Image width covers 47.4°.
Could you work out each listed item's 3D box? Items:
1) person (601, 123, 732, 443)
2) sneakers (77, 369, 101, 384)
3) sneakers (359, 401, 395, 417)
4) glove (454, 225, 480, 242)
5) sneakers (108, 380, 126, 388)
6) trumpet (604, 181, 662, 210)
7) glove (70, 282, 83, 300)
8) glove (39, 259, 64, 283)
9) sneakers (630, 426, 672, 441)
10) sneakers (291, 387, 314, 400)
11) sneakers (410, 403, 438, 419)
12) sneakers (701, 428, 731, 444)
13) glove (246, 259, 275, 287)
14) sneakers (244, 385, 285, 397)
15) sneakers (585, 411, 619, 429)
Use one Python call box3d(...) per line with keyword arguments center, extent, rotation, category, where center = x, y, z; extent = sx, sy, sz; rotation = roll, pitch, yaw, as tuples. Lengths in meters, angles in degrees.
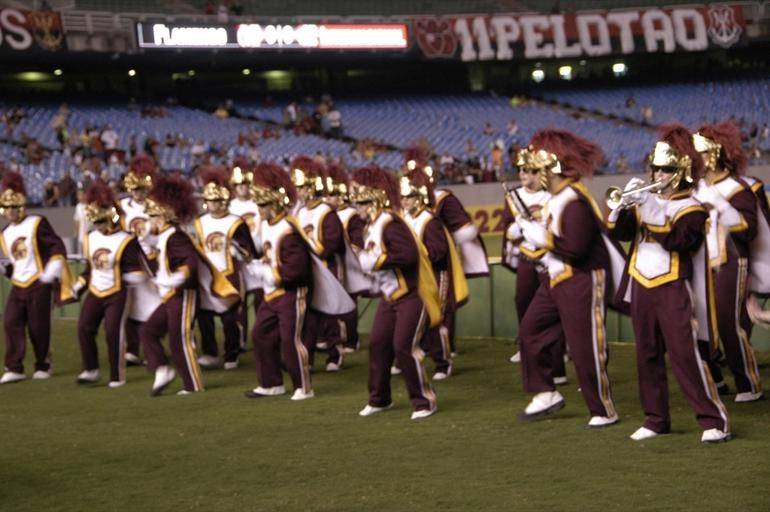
box3d(center=(2.791, 0.286, 8.781), extent=(1.110, 3.202, 0.617), rotation=(-3, 4, -1), category="person")
box3d(center=(-3.867, 1.587, 11.448), extent=(0.275, 0.176, 0.152), rotation=(6, 0, -5), category="sneakers")
box3d(center=(-0.102, 1.762, 10.087), extent=(0.423, 0.159, 0.136), rotation=(-5, 9, -21), category="sneakers")
box3d(center=(1.101, -0.304, 11.812), extent=(0.257, 0.181, 0.257), rotation=(-17, 4, 26), category="glove")
box3d(center=(-3.475, 1.662, 11.348), extent=(0.197, 0.067, 0.155), rotation=(-4, 4, -15), category="sneakers")
box3d(center=(2.433, -0.601, 8.563), extent=(0.626, 0.294, 0.228), rotation=(3, 32, -41), category="trumpet")
box3d(center=(-4.060, 0.472, 11.653), extent=(0.169, 0.231, 0.073), rotation=(26, 8, 27), category="glove")
box3d(center=(-4.414, 0.204, 11.630), extent=(0.303, 0.341, 0.122), rotation=(-3, 4, -1), category="glove")
box3d(center=(2.696, 1.827, 8.998), extent=(0.394, 0.137, 0.156), rotation=(-1, 47, -8), category="sneakers")
box3d(center=(-1.005, 1.694, 10.639), extent=(0.339, 0.128, 0.111), rotation=(1, -6, -25), category="sneakers")
box3d(center=(0.435, 1.764, 9.845), extent=(0.256, 0.101, 0.128), rotation=(0, -10, -26), category="sneakers")
box3d(center=(3.298, 1.806, 8.760), extent=(0.259, 0.113, 0.131), rotation=(-5, 3, 16), category="sneakers")
box3d(center=(-1.494, 0.207, 10.436), extent=(0.248, 0.299, 0.321), rotation=(-5, 4, -25), category="glove")
box3d(center=(-1.462, 1.661, 10.815), extent=(0.512, 0.192, 0.166), rotation=(1, -3, 0), category="sneakers")
box3d(center=(2.292, 1.755, 9.280), extent=(0.351, 0.138, 0.123), rotation=(0, -2, -9), category="sneakers")
